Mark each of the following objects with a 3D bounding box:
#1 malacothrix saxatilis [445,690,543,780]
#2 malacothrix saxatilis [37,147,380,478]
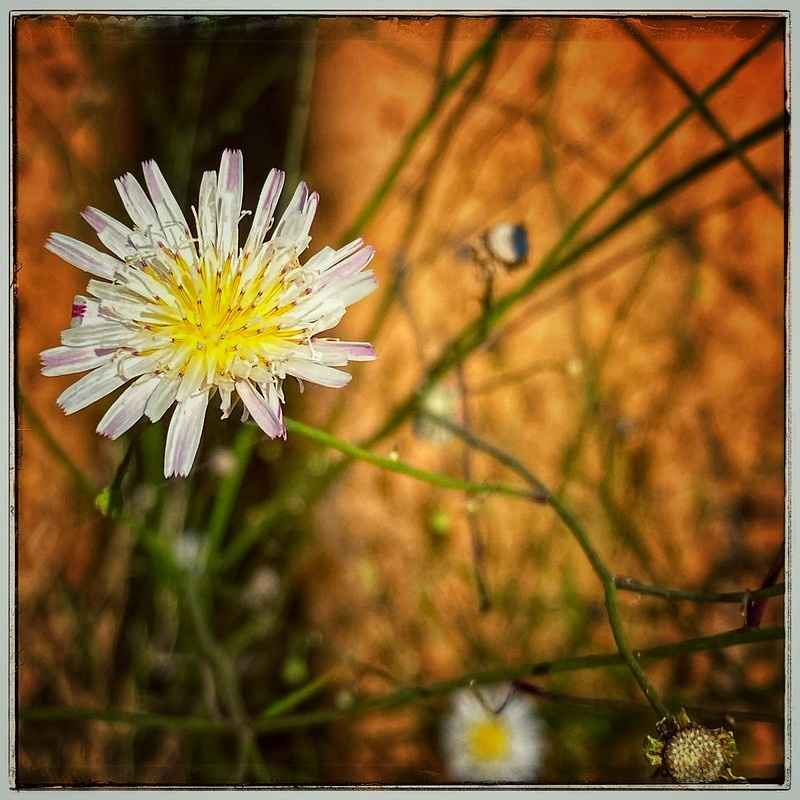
[{"bbox_3d":[0.083,0.306,0.928,0.091,0.053,0.057,-3,-53,-1],"label":"malacothrix saxatilis"},{"bbox_3d":[-0.159,-0.082,0.899,0.260,0.110,0.276,-23,-83,-5],"label":"malacothrix saxatilis"}]
